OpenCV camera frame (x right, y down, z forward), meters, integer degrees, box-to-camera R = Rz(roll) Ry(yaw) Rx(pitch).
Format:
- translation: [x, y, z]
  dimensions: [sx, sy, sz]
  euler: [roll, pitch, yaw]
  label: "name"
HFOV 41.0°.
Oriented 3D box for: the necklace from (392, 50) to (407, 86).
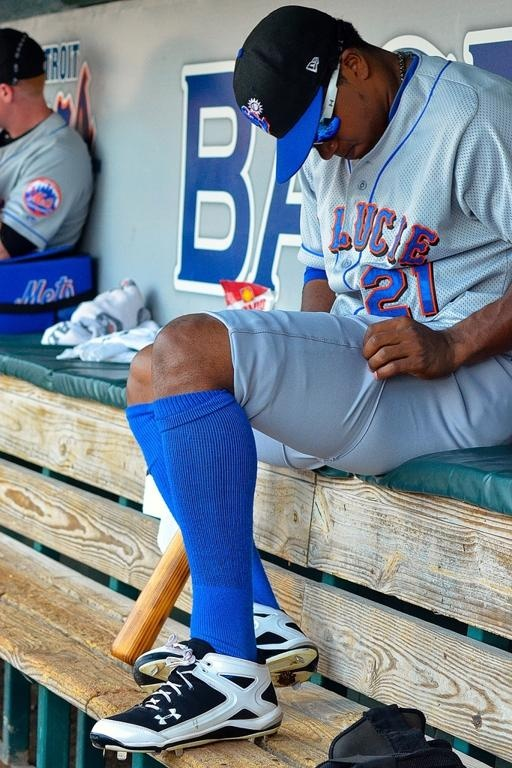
- translation: [0.236, -0.514, 1.117]
  dimensions: [0.014, 0.034, 0.054]
  euler: [-3, 81, 23]
  label: "necklace"
